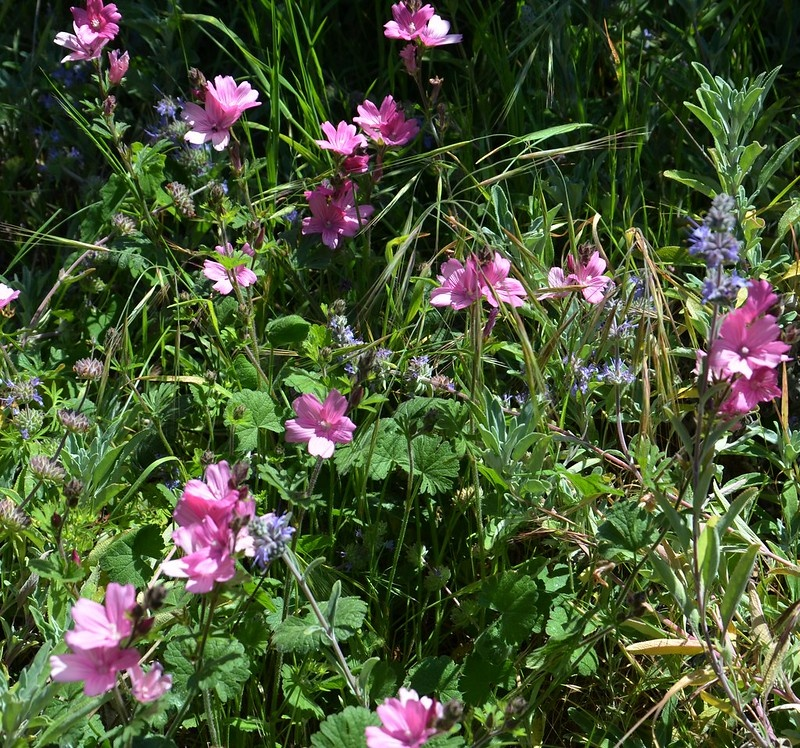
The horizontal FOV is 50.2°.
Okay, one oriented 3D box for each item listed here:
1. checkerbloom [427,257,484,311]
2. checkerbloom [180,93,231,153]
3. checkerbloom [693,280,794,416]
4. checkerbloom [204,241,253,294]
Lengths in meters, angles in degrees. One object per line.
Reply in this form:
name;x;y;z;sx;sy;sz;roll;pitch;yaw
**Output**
checkerbloom;0.162;-0.232;2.329;0.117;0.065;0.156;25;98;44
checkerbloom;-0.576;-0.745;2.561;0.148;0.091;0.165;9;66;10
checkerbloom;0.791;-0.066;1.986;0.167;0.254;0.197;32;89;12
checkerbloom;-0.509;-0.319;2.566;0.124;0.073;0.196;-7;85;-6
